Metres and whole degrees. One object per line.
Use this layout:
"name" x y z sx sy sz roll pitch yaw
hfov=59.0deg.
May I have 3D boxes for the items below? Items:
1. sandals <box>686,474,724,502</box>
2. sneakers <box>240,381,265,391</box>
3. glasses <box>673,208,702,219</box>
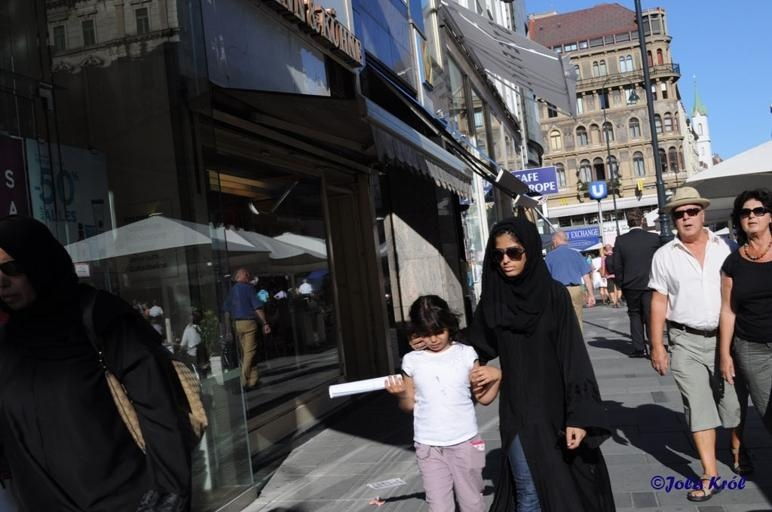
"sandals" 2.557 1.863 5.504 0.339 0.133 0.147 -5 -6 -36
"sneakers" -1.504 1.469 7.749 0.098 0.122 0.306 -3 -12 14
"glasses" 2.583 -0.359 5.903 0.118 0.040 0.125 -10 -20 33
